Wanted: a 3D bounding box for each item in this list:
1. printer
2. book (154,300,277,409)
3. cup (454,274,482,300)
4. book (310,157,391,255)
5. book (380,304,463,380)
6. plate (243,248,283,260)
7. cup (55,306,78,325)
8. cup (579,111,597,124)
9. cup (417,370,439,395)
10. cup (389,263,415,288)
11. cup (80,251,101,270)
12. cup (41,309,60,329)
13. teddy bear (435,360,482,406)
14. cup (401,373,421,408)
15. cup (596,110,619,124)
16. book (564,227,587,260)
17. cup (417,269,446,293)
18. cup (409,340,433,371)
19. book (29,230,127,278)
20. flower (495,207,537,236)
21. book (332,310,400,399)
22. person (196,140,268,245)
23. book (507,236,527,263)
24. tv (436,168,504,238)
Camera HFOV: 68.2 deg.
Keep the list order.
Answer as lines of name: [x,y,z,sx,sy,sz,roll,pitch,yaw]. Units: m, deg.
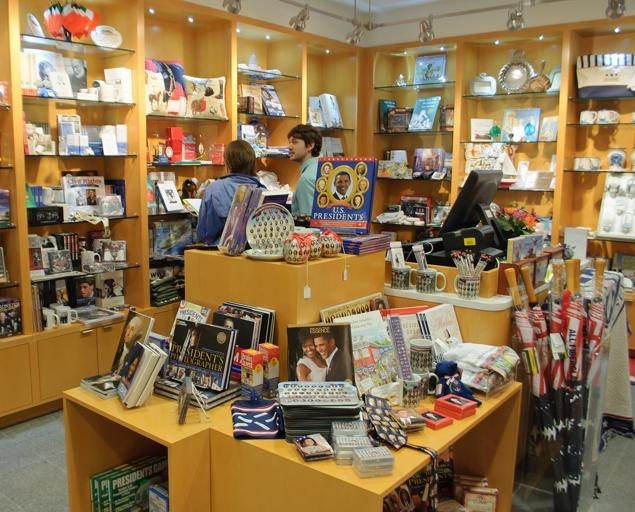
printer: [0.794,-0.064,2.728,0.408,0.148,0.307,4,7,31]
book: [-0.459,0.418,2.039,0.409,0.445,0.157,6,8,29]
cup: [0.786,0.159,2.453,0.125,0.116,0.091,2,2,40]
book: [0.178,-0.266,2.412,0.423,0.498,0.298,-1,8,-1]
book: [0.542,0.415,2.352,0.321,0.316,0.077,-11,-2,-34]
plate: [-0.253,-0.014,2.196,0.189,0.045,0.155,-1,8,-4]
cup: [-1.965,0.462,3.691,0.129,0.148,0.165,7,11,21]
cup: [2.781,-1.444,4.897,0.166,0.138,0.133,1,2,8]
cup: [0.484,0.563,2.087,0.073,0.115,0.127,-2,-1,41]
cup: [0.463,0.123,2.636,0.138,0.107,0.087,0,2,-35]
cup: [-1.855,0.035,3.848,0.106,0.175,0.176,1,1,36]
cup: [-2.021,0.473,3.575,0.148,0.162,0.091,4,2,6]
teddy bear: [0.603,0.548,2.061,0.156,0.204,0.183,-1,-24,1]
cup: [0.393,0.573,2.017,0.073,0.108,0.120,8,14,37]
cup: [2.925,-1.411,4.777,0.169,0.123,0.155,3,4,0]
book: [2.033,-0.103,3.708,0.148,0.238,0.201,3,9,26]
cup: [0.621,0.133,2.576,0.159,0.120,0.105,2,4,20]
cup: [0.459,0.452,2.154,0.114,0.132,0.121,-1,10,0]
book: [-1.927,-0.035,3.870,0.745,0.340,0.323,-6,10,-35]
flower: [1.249,-0.225,3.056,0.228,0.176,0.231,-1,13,-32]
book: [0.207,0.454,2.124,0.322,0.324,0.076,8,-20,-42]
person: [-0.660,-0.491,3.593,0.508,0.810,0.454,-3,8,-15]
book: [1.078,-0.043,2.563,0.124,0.131,0.131,2,9,28]
tv: [1.142,-0.419,3.506,0.325,0.585,0.802,22,16,25]
